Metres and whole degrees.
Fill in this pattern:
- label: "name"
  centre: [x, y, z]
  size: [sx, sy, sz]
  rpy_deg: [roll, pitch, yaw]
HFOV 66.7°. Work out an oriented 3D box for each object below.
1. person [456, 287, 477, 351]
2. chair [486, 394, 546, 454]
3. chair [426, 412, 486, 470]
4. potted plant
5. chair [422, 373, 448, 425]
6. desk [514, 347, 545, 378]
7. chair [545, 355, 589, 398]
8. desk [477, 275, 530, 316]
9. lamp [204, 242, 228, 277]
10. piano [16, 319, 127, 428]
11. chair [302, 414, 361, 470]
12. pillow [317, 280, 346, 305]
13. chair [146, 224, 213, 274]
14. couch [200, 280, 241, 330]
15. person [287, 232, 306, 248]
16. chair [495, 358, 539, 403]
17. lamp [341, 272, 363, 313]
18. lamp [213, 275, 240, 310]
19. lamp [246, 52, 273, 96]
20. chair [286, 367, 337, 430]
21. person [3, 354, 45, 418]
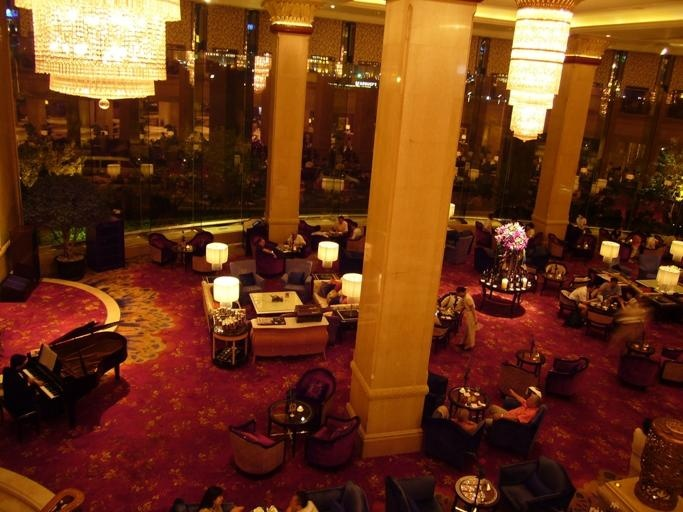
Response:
- label: "person"
  centre: [2.788, 1.350, 11.515]
  size: [0.531, 1.217, 0.797]
  rpy_deg: [6, 18, 14]
- label: "chair"
  centre: [2.947, 2.728, 8.771]
  size: [0.771, 0.987, 0.807]
  rpy_deg: [11, 22, 23]
- label: "chair"
  centre: [1.829, 2.827, 8.371]
  size: [0.695, 0.906, 0.814]
  rpy_deg: [10, 25, 25]
- label: "potted plant"
  centre: [-7.037, -1.059, 13.436]
  size: [1.913, 2.300, 1.994]
  rpy_deg: [-13, 42, -33]
- label: "chair"
  centre: [1.612, 2.478, 9.102]
  size: [0.587, 0.683, 0.634]
  rpy_deg: [2, 24, 8]
- label: "desk"
  centre: [3.749, 2.146, 10.361]
  size: [0.541, 0.646, 0.568]
  rpy_deg: [0, 20, 3]
- label: "chair"
  centre: [4.269, 2.358, 10.013]
  size: [0.767, 0.917, 0.711]
  rpy_deg: [5, 23, 20]
- label: "desk"
  centre: [4.105, 1.023, 13.136]
  size: [1.071, 0.719, 1.126]
  rpy_deg: [2, 18, 6]
- label: "lamp"
  centre: [-3.085, 0.085, 12.521]
  size: [0.682, 0.836, 0.701]
  rpy_deg: [-2, 7, -31]
- label: "piano"
  centre: [-4.354, 2.092, 8.895]
  size: [1.190, 1.296, 1.752]
  rpy_deg: [16, 20, 26]
- label: "chair"
  centre: [-0.148, 2.807, 8.001]
  size: [0.729, 0.727, 0.806]
  rpy_deg: [6, 22, 12]
- label: "pillow"
  centre: [-0.241, 0.916, 12.353]
  size: [0.518, 0.175, 0.588]
  rpy_deg: [-18, 45, 11]
- label: "chair"
  centre: [-4.552, -0.150, 14.557]
  size: [1.691, 0.870, 1.078]
  rpy_deg: [2, 18, -1]
- label: "couch"
  centre: [-2.632, 0.989, 11.395]
  size: [0.744, 0.773, 1.745]
  rpy_deg: [-6, 39, -17]
- label: "person"
  centre: [-1.285, -0.462, 15.182]
  size: [0.453, 0.403, 0.706]
  rpy_deg: [7, 0, 10]
- label: "chair"
  centre: [3.344, 2.291, 9.788]
  size: [0.564, 0.833, 0.658]
  rpy_deg: [21, 36, 34]
- label: "lamp"
  centre: [0.210, 0.800, 11.369]
  size: [0.417, 0.745, 0.805]
  rpy_deg: [1, 18, -1]
- label: "lamp"
  centre: [-2.341, 0.742, 10.665]
  size: [0.590, 0.712, 0.601]
  rpy_deg: [-1, 12, -25]
- label: "lamp"
  centre: [-2.486, -5.677, 16.173]
  size: [0.601, 1.198, 0.379]
  rpy_deg: [-5, 19, -21]
- label: "chair"
  centre: [-0.402, 2.362, 9.076]
  size: [0.777, 1.103, 0.891]
  rpy_deg: [9, 8, 28]
- label: "person"
  centre: [-4.886, 2.018, 7.988]
  size: [0.578, 1.069, 0.520]
  rpy_deg: [-15, 34, -39]
